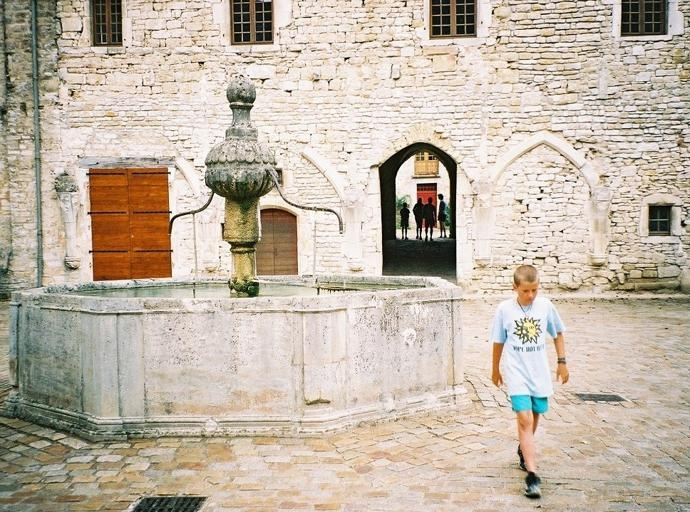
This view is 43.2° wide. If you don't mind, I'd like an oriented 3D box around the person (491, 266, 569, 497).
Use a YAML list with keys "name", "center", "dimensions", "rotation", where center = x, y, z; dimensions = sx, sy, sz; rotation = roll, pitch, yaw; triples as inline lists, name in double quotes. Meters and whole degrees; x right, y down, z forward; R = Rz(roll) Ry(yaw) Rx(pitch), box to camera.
- name: "person"
  center: [2.101, 1.241, 9.429]
  dimensions: [0.789, 2.200, 0.814]
  rotation: [-4, 14, -15]

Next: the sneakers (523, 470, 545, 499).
- name: "sneakers"
  center: [2.018, 2.410, 9.295]
  dimensions: [0.159, 0.254, 0.234]
  rotation: [2, 14, 11]
